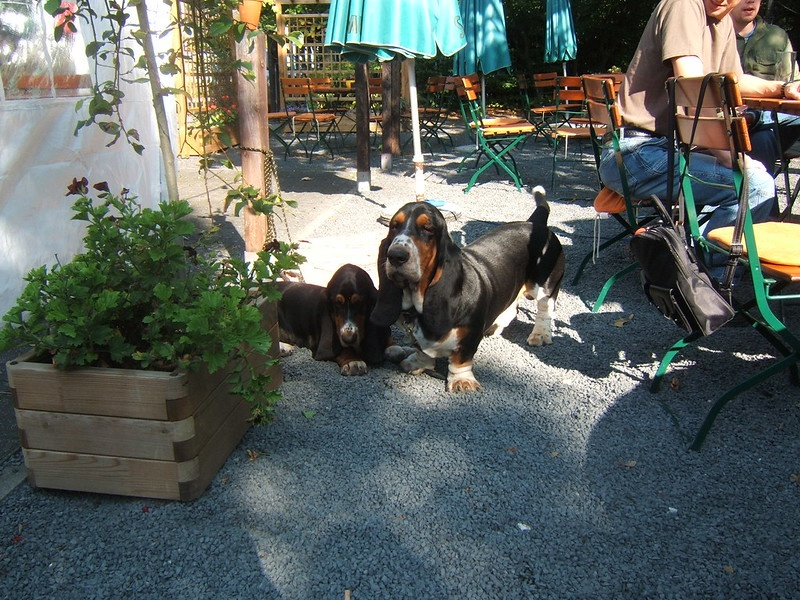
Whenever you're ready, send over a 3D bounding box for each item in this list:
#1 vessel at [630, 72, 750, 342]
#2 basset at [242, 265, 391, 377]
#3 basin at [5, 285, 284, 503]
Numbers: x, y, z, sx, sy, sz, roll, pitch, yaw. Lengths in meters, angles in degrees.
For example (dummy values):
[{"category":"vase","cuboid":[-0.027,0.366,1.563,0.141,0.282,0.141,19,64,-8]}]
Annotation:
[{"category":"vessel","cuboid":[1.367,-0.428,2.641,0.536,1.122,0.423,-20,15,-4]},{"category":"basset","cuboid":[-0.443,0.093,3.305,0.462,0.447,0.815,-12,20,-32]},{"category":"basin","cuboid":[-1.154,0.485,2.427,0.695,0.508,1.054,3,13,7]}]
